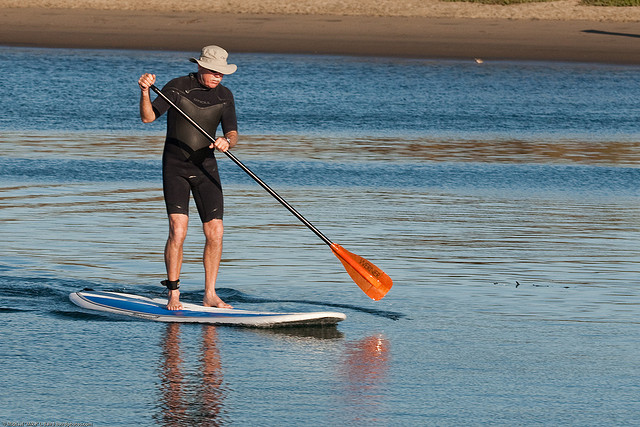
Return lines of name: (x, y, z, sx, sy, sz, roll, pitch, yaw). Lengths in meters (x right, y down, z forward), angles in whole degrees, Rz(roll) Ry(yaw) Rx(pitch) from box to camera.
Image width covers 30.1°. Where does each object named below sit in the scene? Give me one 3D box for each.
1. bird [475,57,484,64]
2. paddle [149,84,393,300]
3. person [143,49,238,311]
bird: (4.828, -4.621, 36.148, 0.182, 0.108, 0.322, 34, 17, -21)
paddle: (-0.698, -0.283, 14.129, 3.796, 0.356, 0.564, 42, -17, 6)
person: (-1.559, -0.462, 13.610, 1.094, 2.888, 1.232, 7, 21, -8)
